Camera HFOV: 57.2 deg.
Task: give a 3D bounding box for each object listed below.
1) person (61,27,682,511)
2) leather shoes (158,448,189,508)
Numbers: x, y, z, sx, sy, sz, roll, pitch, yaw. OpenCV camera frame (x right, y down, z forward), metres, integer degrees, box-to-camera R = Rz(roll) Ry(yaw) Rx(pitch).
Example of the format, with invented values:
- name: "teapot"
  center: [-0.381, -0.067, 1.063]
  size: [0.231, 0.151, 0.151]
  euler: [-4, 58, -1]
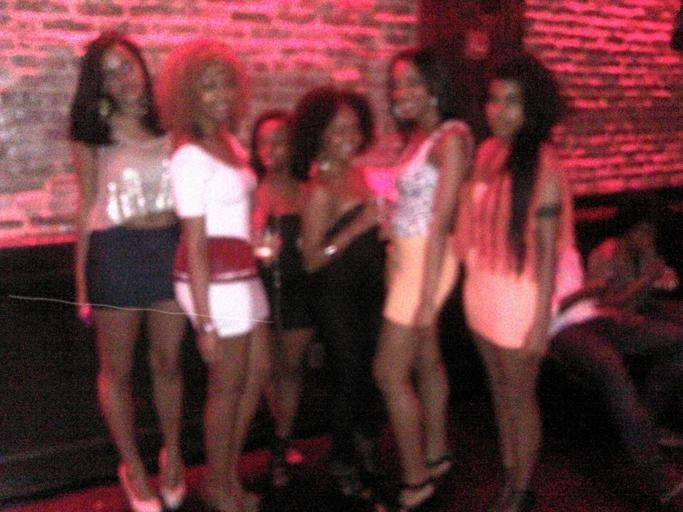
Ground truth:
- name: "person"
  center: [-0.033, 0.093, 1.269]
  size: [1.004, 1.002, 0.281]
  euler: [6, 17, 16]
- name: "leather shoes"
  center: [-0.373, 0.502, 1.390]
  size: [0.055, 0.144, 0.040]
  euler: [-9, 16, -11]
